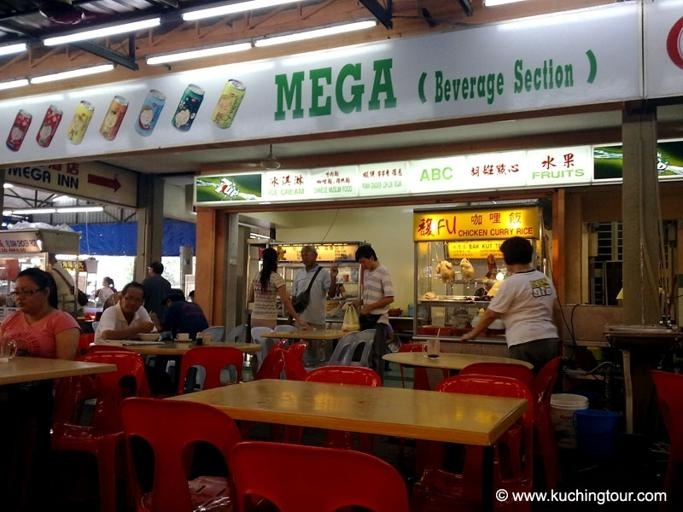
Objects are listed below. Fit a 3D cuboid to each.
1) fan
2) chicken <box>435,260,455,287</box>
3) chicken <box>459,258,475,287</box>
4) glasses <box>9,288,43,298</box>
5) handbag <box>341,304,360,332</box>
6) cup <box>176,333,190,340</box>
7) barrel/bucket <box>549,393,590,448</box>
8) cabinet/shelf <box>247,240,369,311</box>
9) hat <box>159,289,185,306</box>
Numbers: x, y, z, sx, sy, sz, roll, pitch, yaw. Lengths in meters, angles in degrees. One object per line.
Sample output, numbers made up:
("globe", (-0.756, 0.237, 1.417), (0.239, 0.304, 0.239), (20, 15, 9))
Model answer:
("fan", (-0.964, -1.478, 9.233), (0.859, 0.178, 0.844), (0, -6, -23))
("chicken", (1.500, 0.220, 8.509), (0.257, 0.321, 0.231), (0, -5, 17))
("chicken", (1.874, 0.219, 8.531), (0.199, 0.316, 0.316), (-16, -39, 28))
("glasses", (-2.424, 0.272, 4.473), (0.254, 0.065, 0.110), (0, -5, 23))
("handbag", (0.112, 0.651, 7.062), (0.244, 0.488, 0.509), (0, -6, -1))
("cup", (-1.582, 0.802, 5.888), (0.076, 0.049, 0.101), (-1, -6, 2))
("barrel/bucket", (1.920, 1.439, 5.180), (0.425, 0.421, 0.421), (1, -2, 0))
("cabinet/shelf", (-0.525, 0.349, 11.941), (1.843, 1.565, 0.634), (0, 22, 0))
("hat", (-1.968, 0.442, 6.699), (0.288, 0.149, 0.194), (-14, -2, 7))
